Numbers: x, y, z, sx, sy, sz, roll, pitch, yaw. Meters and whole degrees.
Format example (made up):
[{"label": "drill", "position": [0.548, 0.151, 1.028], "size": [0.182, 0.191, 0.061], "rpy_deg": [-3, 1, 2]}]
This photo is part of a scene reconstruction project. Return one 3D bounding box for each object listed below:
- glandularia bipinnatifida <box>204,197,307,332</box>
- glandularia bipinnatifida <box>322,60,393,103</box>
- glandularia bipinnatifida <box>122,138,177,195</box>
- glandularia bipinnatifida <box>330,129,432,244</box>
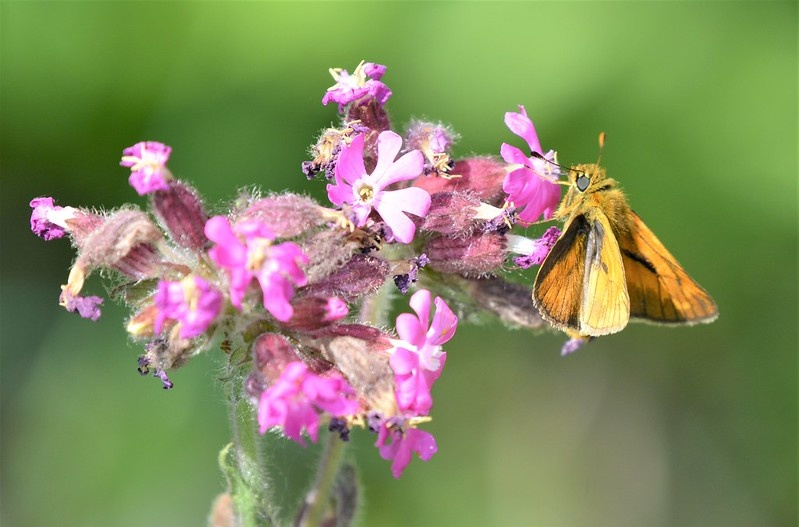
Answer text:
[{"label": "glandularia bipinnatifida", "position": [-0.862, 0.023, 4.759], "size": [0.766, 0.593, 0.294], "rpy_deg": [19, 73, 34]}, {"label": "glandularia bipinnatifida", "position": [-0.297, -1.215, 5.559], "size": [0.406, 0.443, 0.174], "rpy_deg": [14, -11, -4]}, {"label": "glandularia bipinnatifida", "position": [-1.606, -0.586, 4.957], "size": [0.324, 0.363, 0.251], "rpy_deg": [20, 34, 18]}, {"label": "glandularia bipinnatifida", "position": [-0.110, -0.519, 5.029], "size": [0.624, 0.512, 0.439], "rpy_deg": [16, 33, 11]}]
